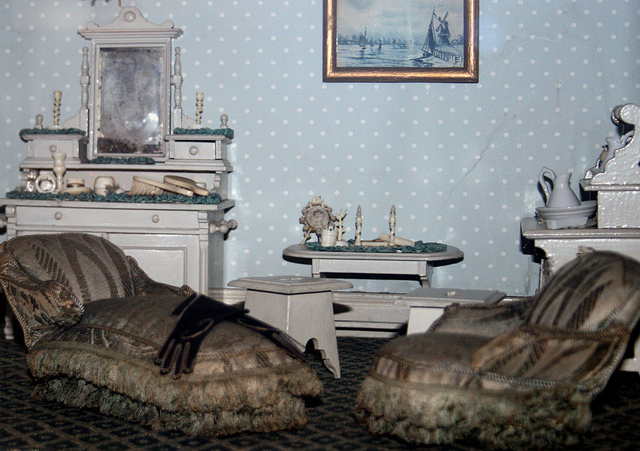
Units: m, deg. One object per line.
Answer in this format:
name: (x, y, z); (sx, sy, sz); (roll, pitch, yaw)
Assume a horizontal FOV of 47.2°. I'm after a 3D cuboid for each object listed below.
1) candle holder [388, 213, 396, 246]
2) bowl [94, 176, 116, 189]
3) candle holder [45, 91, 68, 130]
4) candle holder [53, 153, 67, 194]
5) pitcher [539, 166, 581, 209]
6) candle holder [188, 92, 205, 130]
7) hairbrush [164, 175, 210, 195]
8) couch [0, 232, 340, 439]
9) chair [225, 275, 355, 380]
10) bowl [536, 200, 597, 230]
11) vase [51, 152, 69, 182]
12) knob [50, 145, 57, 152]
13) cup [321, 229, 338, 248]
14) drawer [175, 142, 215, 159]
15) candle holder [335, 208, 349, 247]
candle holder: (0.562, 0.037, 5.743); (0.050, 0.245, 0.094); (2, 2, 5)
bowl: (-1.722, -0.347, 5.851); (0.115, 0.105, 0.114); (1, 7, 0)
candle holder: (-2.149, -0.935, 5.997); (0.156, 0.320, 0.253); (1, 2, -25)
candle holder: (-2.073, -0.422, 5.849); (0.105, 0.325, 0.207); (1, 2, -20)
pitcher: (1.734, -0.272, 5.314); (0.287, 0.321, 0.234); (-3, 14, 24)
candle holder: (-1.001, -0.932, 5.954); (0.127, 0.329, 0.249); (2, 2, -12)
hairbrush: (-1.052, -0.319, 5.746); (0.296, 0.030, 0.188); (18, 9, 23)
couch: (-0.923, 0.609, 4.491); (1.709, 0.826, 1.154); (4, 3, 22)
chair: (-0.257, 0.695, 4.986); (0.769, 0.615, 0.776); (0, -12, 29)
bowl: (1.754, -0.073, 5.179); (0.384, 0.210, 0.273); (2, 2, 3)
vase: (-2.087, -0.473, 5.881); (0.118, 0.243, 0.167); (2, 2, -19)
knob: (-2.163, -0.623, 5.950); (0.045, 0.044, 0.024); (-2, 1, -1)
cup: (0.071, 0.102, 5.802); (0.129, 0.134, 0.136); (3, 0, 0)
drawer: (-1.004, -0.599, 5.887); (0.313, 0.138, 0.057); (2, 2, 13)
candle holder: (0.180, 0.011, 5.863); (0.111, 0.296, 0.352); (2, 2, 2)
